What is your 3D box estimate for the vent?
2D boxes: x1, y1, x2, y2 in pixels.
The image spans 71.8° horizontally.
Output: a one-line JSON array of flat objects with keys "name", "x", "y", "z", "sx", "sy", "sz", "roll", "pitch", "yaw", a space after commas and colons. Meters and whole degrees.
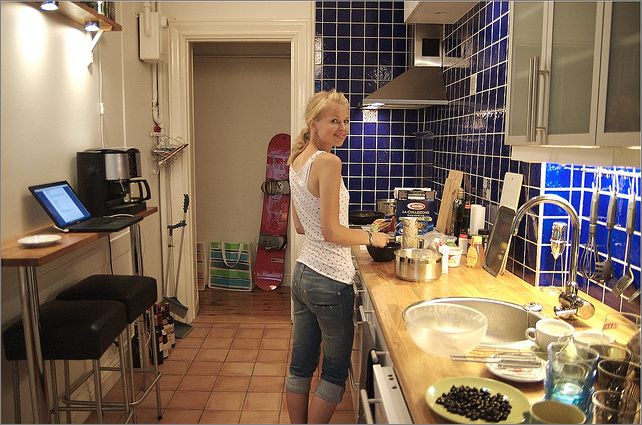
[{"name": "vent", "x": 0.731, "y": -1.248, "z": 4.006, "sx": 0.792, "sy": 0.826, "sz": 0.967, "roll": 2, "pitch": -3, "yaw": 21}]

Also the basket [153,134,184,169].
[{"name": "basket", "x": -1.498, "y": -0.591, "z": 4.198, "sx": 0.297, "sy": 0.105, "sz": 0.297, "roll": 15, "pitch": 35, "yaw": 23}]

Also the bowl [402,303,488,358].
[{"name": "bowl", "x": 0.583, "y": 0.497, "z": 2.079, "sx": 0.417, "sy": 0.169, "sz": 0.426, "roll": -2, "pitch": -12, "yaw": 0}]

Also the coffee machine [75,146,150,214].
[{"name": "coffee machine", "x": -1.444, "y": -0.223, "z": 3.194, "sx": 0.429, "sy": 0.533, "sz": 0.528, "roll": 0, "pitch": 6, "yaw": -7}]

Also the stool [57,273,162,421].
[{"name": "stool", "x": -1.287, "y": 0.734, "z": 2.756, "sx": 0.566, "sy": 0.989, "sz": 0.543, "roll": 0, "pitch": 4, "yaw": 1}]

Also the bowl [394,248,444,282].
[{"name": "bowl", "x": 0.562, "y": 0.313, "z": 2.576, "sx": 0.204, "sy": 0.105, "sz": 0.204, "roll": 0, "pitch": 5, "yaw": 0}]

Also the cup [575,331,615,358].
[{"name": "cup", "x": 0.954, "y": 0.450, "z": 1.530, "sx": 0.078, "sy": 0.058, "sz": 0.078, "roll": -3, "pitch": 10, "yaw": 1}]

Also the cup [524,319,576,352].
[{"name": "cup", "x": 0.920, "y": 0.478, "z": 1.774, "sx": 0.158, "sy": 0.072, "sz": 0.124, "roll": -8, "pitch": 6, "yaw": -1}]

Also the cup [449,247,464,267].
[{"name": "cup", "x": 0.835, "y": 0.277, "z": 2.748, "sx": 0.104, "sy": 0.079, "sz": 0.103, "roll": 0, "pitch": 0, "yaw": 0}]

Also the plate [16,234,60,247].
[{"name": "plate", "x": -1.497, "y": 0.148, "z": 2.321, "sx": 0.186, "sy": 0.033, "sz": 0.184, "roll": -4, "pitch": 14, "yaw": -17}]

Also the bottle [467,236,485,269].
[{"name": "bottle", "x": 0.976, "y": 0.249, "z": 2.761, "sx": 0.102, "sy": 0.198, "sz": 0.078, "roll": 5, "pitch": 15, "yaw": 19}]

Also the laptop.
[{"name": "laptop", "x": -1.430, "y": -0.021, "z": 2.634, "sx": 0.371, "sy": 0.210, "sz": 0.387, "roll": -1, "pitch": 7, "yaw": -1}]

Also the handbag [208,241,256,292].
[{"name": "handbag", "x": -1.089, "y": 0.675, "z": 5.326, "sx": 0.583, "sy": 0.575, "sz": 0.212, "roll": 1, "pitch": -1, "yaw": 3}]

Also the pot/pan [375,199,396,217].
[{"name": "pot/pan", "x": 0.605, "y": -0.034, "z": 4.093, "sx": 0.163, "sy": 0.122, "sz": 0.132, "roll": 0, "pitch": 1, "yaw": 4}]

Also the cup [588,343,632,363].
[{"name": "cup", "x": 0.948, "y": 0.461, "z": 1.441, "sx": 0.111, "sy": 0.052, "sz": 0.047, "roll": 8, "pitch": 16, "yaw": 30}]
